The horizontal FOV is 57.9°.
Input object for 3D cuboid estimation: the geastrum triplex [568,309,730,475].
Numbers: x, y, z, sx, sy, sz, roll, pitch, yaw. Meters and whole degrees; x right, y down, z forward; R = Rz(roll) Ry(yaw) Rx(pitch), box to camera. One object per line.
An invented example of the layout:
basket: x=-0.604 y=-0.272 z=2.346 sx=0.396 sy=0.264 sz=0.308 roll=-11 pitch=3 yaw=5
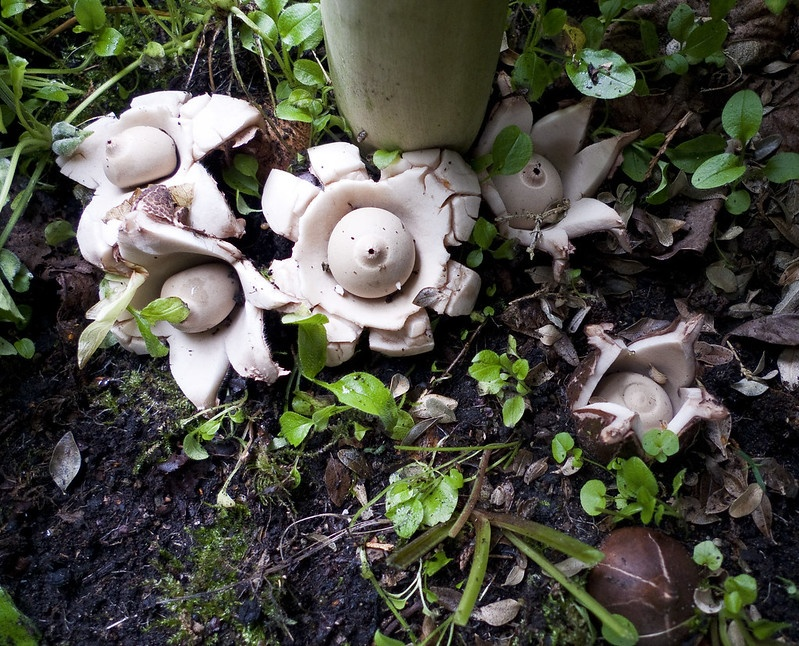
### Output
geastrum triplex: x=0.780 y=0.224 z=2.370 sx=0.443 sy=0.300 sz=0.509 roll=-5 pitch=68 yaw=3

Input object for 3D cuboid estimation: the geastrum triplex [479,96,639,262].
geastrum triplex: x=0.521 y=-0.497 z=2.667 sx=0.559 sy=0.236 sz=0.554 roll=45 pitch=81 yaw=-4

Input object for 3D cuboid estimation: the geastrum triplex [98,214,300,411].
geastrum triplex: x=-0.683 y=-0.037 z=2.638 sx=0.635 sy=0.270 sz=0.655 roll=35 pitch=110 yaw=6

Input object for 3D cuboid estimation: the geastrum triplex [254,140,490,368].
geastrum triplex: x=-0.084 y=-0.264 z=2.473 sx=0.749 sy=0.275 sz=0.745 roll=-6 pitch=83 yaw=-1
